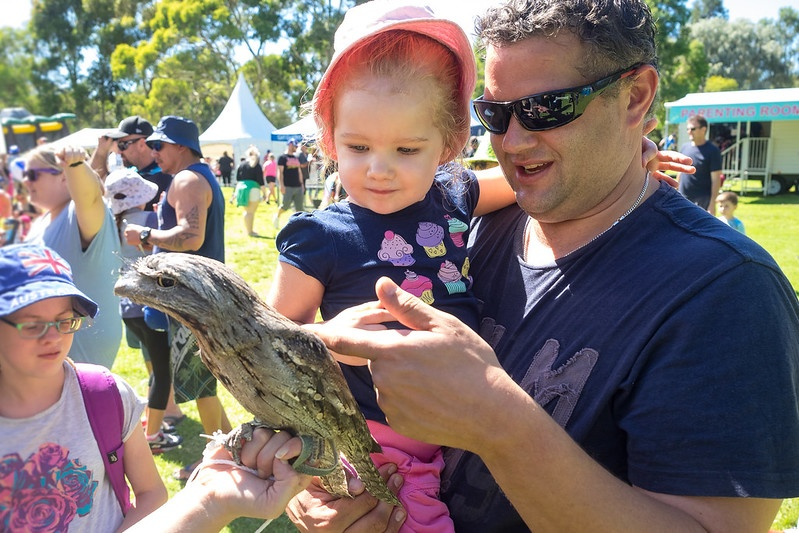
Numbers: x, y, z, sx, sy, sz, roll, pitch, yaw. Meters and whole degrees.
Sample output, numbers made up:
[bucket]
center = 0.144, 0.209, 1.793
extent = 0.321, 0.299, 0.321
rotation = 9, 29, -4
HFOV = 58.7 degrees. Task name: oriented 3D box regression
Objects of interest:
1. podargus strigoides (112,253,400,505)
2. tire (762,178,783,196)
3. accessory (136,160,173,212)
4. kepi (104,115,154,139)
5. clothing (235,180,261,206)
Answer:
[podargus strigoides]
center = -0.612, 0.542, 3.243
extent = 1.157, 1.243, 0.308
rotation = -4, 8, -18
[tire]
center = 11.682, -2.493, 22.149
extent = 0.497, 0.556, 0.187
rotation = -5, -1, 5
[accessory]
center = -2.319, -0.752, 6.736
extent = 0.325, 0.576, 0.267
rotation = 17, 5, 42
[kepi]
center = -2.888, -1.457, 7.578
extent = 0.454, 0.258, 0.301
rotation = 1, 12, -12
[clothing]
center = -3.134, -1.495, 14.594
extent = 0.455, 0.608, 0.589
rotation = 0, 12, -9
